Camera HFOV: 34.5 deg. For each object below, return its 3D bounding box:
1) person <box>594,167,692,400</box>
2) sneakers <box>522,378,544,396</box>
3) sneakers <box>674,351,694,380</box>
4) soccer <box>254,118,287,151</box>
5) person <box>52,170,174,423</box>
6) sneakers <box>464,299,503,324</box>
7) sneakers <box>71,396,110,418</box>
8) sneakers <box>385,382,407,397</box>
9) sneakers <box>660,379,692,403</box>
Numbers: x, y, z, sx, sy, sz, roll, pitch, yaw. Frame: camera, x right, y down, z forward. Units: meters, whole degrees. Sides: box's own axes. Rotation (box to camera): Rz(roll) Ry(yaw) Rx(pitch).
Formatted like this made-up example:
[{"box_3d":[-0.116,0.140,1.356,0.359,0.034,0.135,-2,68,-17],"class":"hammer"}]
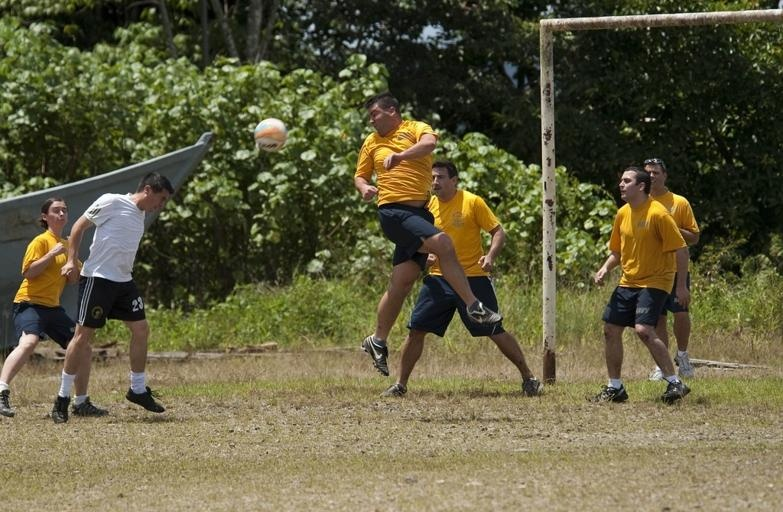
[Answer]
[{"box_3d":[3.424,0.392,17.132,1.221,3.087,0.928,1,12,11],"class":"person"},{"box_3d":[1.971,1.817,17.560,0.278,0.214,0.238,1,12,7],"class":"sneakers"},{"box_3d":[4.296,1.594,18.423,0.215,0.462,0.220,-17,-12,-6],"class":"sneakers"},{"box_3d":[-1.912,-1.961,20.185,0.517,0.498,0.520,-2,-1,24],"class":"soccer"},{"box_3d":[-3.714,0.555,16.851,1.604,3.148,0.725,-3,12,-11],"class":"person"},{"box_3d":[1.240,0.748,17.263,0.602,0.281,0.214,13,34,16],"class":"sneakers"},{"box_3d":[-4.087,2.075,17.112,0.574,0.273,0.201,0,0,-4],"class":"sneakers"},{"box_3d":[0.075,1.879,17.489,0.276,0.111,0.138,2,-4,-11],"class":"sneakers"},{"box_3d":[3.822,1.832,16.963,0.511,0.229,0.182,-21,4,-32],"class":"sneakers"}]
